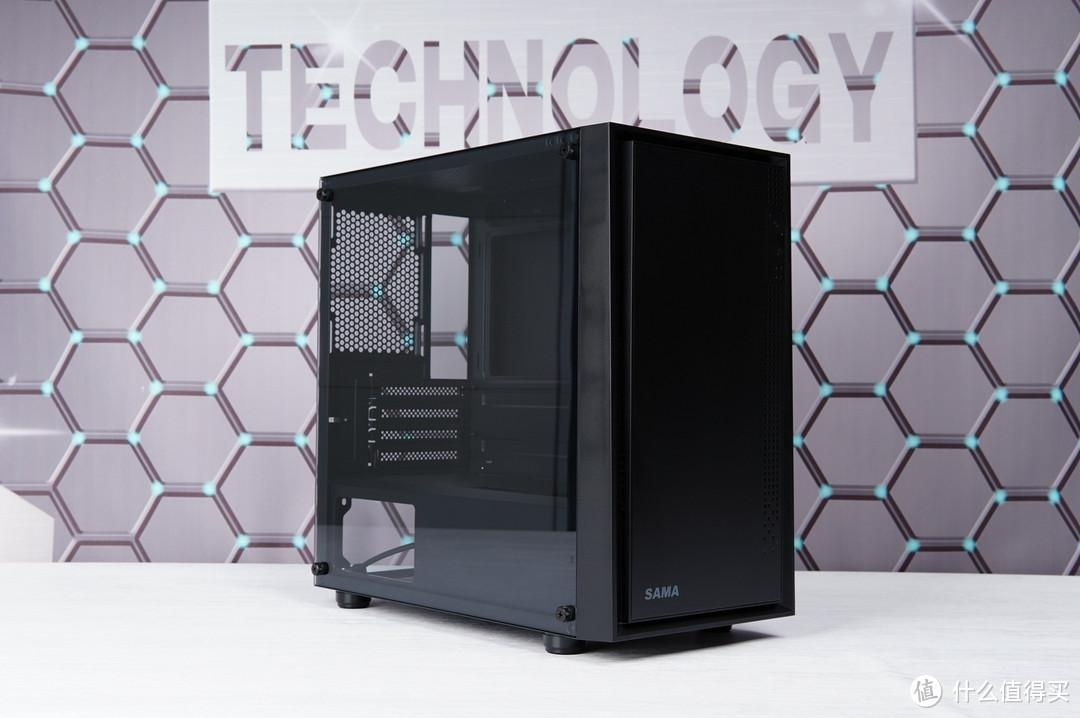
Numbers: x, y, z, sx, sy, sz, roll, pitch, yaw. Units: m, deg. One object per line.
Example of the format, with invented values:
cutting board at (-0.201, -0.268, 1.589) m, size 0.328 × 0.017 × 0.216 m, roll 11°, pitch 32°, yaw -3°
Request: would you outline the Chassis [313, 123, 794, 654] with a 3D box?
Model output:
Chassis at (0.000, 0.077, 1.855) m, size 0.628 × 0.613 × 0.448 m, roll 0°, pitch -3°, yaw 38°
